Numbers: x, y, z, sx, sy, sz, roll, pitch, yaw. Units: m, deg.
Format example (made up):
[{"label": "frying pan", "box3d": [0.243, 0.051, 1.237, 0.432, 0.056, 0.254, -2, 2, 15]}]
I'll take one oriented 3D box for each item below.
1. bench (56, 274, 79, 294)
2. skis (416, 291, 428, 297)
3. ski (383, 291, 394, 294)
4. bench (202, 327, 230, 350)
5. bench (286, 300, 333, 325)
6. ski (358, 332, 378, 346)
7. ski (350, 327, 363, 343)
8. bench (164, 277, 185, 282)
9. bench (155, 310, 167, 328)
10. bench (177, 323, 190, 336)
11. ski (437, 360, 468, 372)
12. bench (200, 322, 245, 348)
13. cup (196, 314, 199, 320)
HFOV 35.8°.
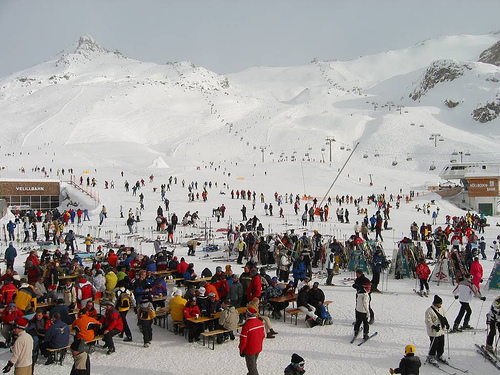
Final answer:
[{"label": "bench", "box3d": [-15.271, 7.947, 65.034, 1.339, 1.436, 2.083, 1, -1, 43]}, {"label": "skis", "box3d": [14.448, 8.963, 64.682, 0.593, 0.147, 0.181, 28, 12, 9]}, {"label": "ski", "box3d": [11.656, 8.872, 65.100, 0.766, 0.190, 0.216, -1, -6, 10]}, {"label": "bench", "box3d": [-2.675, 11.928, 60.927, 1.981, 1.766, 1.205, 1, -5, -1]}, {"label": "bench", "box3d": [4.833, 10.214, 62.676, 3.678, 1.884, 1.409, 0, -5, 4]}, {"label": "ski", "box3d": [9.318, 12.042, 61.006, 1.518, 0.164, 0.172, -33, -41, -6]}, {"label": "ski", "box3d": [8.493, 11.801, 61.220, 0.188, 0.253, 1.771, 20, 45, 25]}, {"label": "bench", "box3d": [-6.239, 7.840, 65.384, 0.692, 0.402, 2.176, 5, -7, -39]}, {"label": "bench", "box3d": [-6.976, 10.627, 62.131, 1.162, 1.219, 1.215, -2, -12, 22]}, {"label": "bench", "box3d": [-5.195, 11.334, 61.318, 0.918, 1.032, 0.635, 0, -5, 3]}, {"label": "ski", "box3d": [15.575, 13.893, 59.658, 1.689, 0.184, 0.256, 23, -31, 32]}, {"label": "bench", "box3d": [-2.097, 11.756, 61.256, 3.356, 1.904, 1.801, 1, -5, -1]}, {"label": "cup", "box3d": [-4.048, 10.218, 60.947, 0.220, 0.390, 0.283, -3, 7, -14]}]
